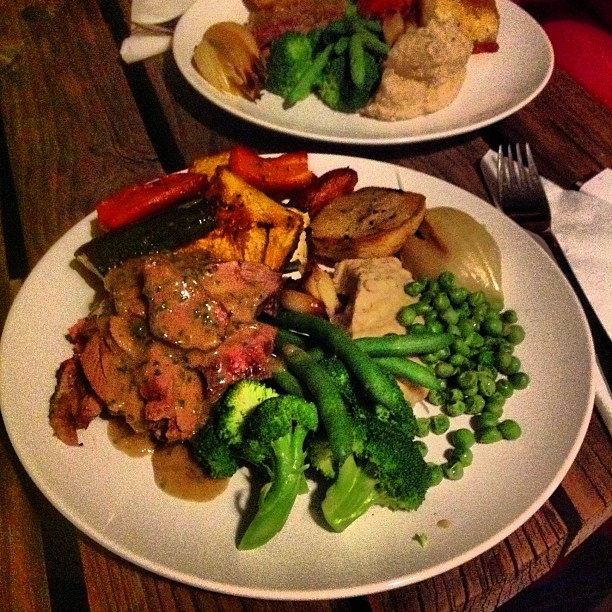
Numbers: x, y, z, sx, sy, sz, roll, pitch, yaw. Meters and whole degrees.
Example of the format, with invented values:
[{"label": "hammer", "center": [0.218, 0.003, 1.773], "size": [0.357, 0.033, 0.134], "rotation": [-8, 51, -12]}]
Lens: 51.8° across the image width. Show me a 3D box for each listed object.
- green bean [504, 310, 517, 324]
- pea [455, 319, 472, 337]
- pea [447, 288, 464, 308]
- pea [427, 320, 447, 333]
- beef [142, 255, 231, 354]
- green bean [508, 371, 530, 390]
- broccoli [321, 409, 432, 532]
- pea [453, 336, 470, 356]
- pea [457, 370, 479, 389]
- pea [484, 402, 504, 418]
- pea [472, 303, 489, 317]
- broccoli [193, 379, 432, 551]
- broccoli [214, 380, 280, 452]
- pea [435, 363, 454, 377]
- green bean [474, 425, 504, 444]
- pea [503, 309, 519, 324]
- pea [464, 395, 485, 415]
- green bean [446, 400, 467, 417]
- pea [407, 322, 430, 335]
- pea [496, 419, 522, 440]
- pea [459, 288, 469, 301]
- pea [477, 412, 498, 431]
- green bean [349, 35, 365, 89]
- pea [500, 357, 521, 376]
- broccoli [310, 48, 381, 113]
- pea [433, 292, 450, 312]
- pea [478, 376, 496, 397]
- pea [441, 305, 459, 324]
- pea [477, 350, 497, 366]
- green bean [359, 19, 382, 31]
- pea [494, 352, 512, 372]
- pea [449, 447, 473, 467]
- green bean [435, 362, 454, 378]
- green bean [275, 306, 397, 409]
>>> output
[{"label": "green bean", "center": [0.860, 0.044, 2.651], "size": [0.057, 0.043, 0.042], "rotation": [6, 105, 31]}, {"label": "pea", "center": [0.665, 0.091, 2.641], "size": [0.057, 0.061, 0.040], "rotation": [7, 94, 1]}, {"label": "pea", "center": [0.636, -0.034, 2.673], "size": [0.069, 0.044, 0.076], "rotation": [-19, 100, 8]}, {"label": "pea", "center": [0.548, 0.085, 2.635], "size": [0.056, 0.023, 0.068], "rotation": [-2, 31, -9]}, {"label": "beef", "center": [-0.480, 0.002, 2.382], "size": [0.377, 0.093, 0.339], "rotation": [11, 68, -29]}, {"label": "green bean", "center": [0.855, 0.294, 2.526], "size": [0.062, 0.077, 0.057], "rotation": [-8, 106, -27]}, {"label": "broccoli", "center": [0.175, 0.585, 2.207], "size": [0.448, 0.214, 0.353], "rotation": [-22, 73, -49]}, {"label": "pea", "center": [0.636, 0.166, 2.588], "size": [0.025, 0.076, 0.076], "rotation": [-41, 86, -11]}, {"label": "pea", "center": [0.643, 0.291, 2.496], "size": [0.066, 0.028, 0.067], "rotation": [-10, 60, 7]}, {"label": "pea", "center": [0.733, 0.399, 2.457], "size": [0.055, 0.063, 0.033], "rotation": [9, 101, 18]}, {"label": "pea", "center": [0.742, 0.011, 2.693], "size": [0.065, 0.050, 0.033], "rotation": [-24, 96, -6]}, {"label": "broccoli", "center": [0.024, 0.548, 2.238], "size": [0.528, 0.715, 0.269], "rotation": [-12, 42, 30]}, {"label": "broccoli", "center": [-0.240, 0.372, 2.318], "size": [0.198, 0.241, 0.237], "rotation": [-11, 34, -10]}, {"label": "pea", "center": [0.558, 0.255, 2.547], "size": [0.051, 0.063, 0.046], "rotation": [6, 98, 28]}, {"label": "green bean", "center": [0.694, 0.485, 2.387], "size": [0.092, 0.054, 0.062], "rotation": [-13, 78, 20]}, {"label": "pea", "center": [0.862, 0.041, 2.672], "size": [0.059, 0.034, 0.048], "rotation": [35, 74, 18]}, {"label": "pea", "center": [0.663, 0.386, 2.473], "size": [0.073, 0.041, 0.065], "rotation": [5, 84, -6]}, {"label": "green bean", "center": [0.591, 0.398, 2.469], "size": [0.068, 0.067, 0.034], "rotation": [-10, 96, -26]}, {"label": "pea", "center": [0.455, 0.092, 2.582], "size": [0.058, 0.030, 0.053], "rotation": [16, 26, 39]}, {"label": "pea", "center": [0.773, 0.467, 2.395], "size": [0.081, 0.043, 0.072], "rotation": [-20, 66, 11]}, {"label": "pea", "center": [0.671, -0.050, 2.691], "size": [0.039, 0.025, 0.047], "rotation": [25, 46, 25]}, {"label": "pea", "center": [0.696, 0.443, 2.418], "size": [0.060, 0.071, 0.039], "rotation": [-1, 70, -10]}, {"label": "green bean", "center": [0.265, -1.185, 3.075], "size": [0.099, 0.281, 0.030], "rotation": [8, 51, 12]}, {"label": "pea", "center": [0.843, 0.244, 2.614], "size": [0.072, 0.069, 0.071], "rotation": [3, 101, 38]}, {"label": "broccoli", "center": [0.189, -1.109, 3.161], "size": [0.275, 0.320, 0.095], "rotation": [17, 28, -6]}, {"label": "pea", "center": [0.571, -0.019, 2.657], "size": [0.071, 0.070, 0.079], "rotation": [-9, 102, -32]}, {"label": "pea", "center": [0.717, 0.319, 2.501], "size": [0.069, 0.031, 0.075], "rotation": [4, 72, 0]}, {"label": "pea", "center": [0.606, 0.030, 2.654], "size": [0.070, 0.036, 0.055], "rotation": [6, 48, -20]}, {"label": "pea", "center": [0.746, 0.216, 2.573], "size": [0.053, 0.063, 0.033], "rotation": [-1, 92, 6]}, {"label": "green bean", "center": [0.330, -1.435, 3.221], "size": [0.098, 0.021, 0.056], "rotation": [1, 78, -28]}, {"label": "pea", "center": [0.793, 0.227, 2.562], "size": [0.061, 0.076, 0.056], "rotation": [6, 58, -1]}, {"label": "pea", "center": [0.586, 0.557, 2.364], "size": [0.074, 0.039, 0.071], "rotation": [-21, 26, 6]}, {"label": "green bean", "center": [0.558, 0.257, 2.547], "size": [0.052, 0.062, 0.046], "rotation": [-4, 102, -8]}, {"label": "green bean", "center": [0.113, 0.208, 2.379], "size": [0.336, 0.425, 0.194], "rotation": [-23, 113, -27]}]
